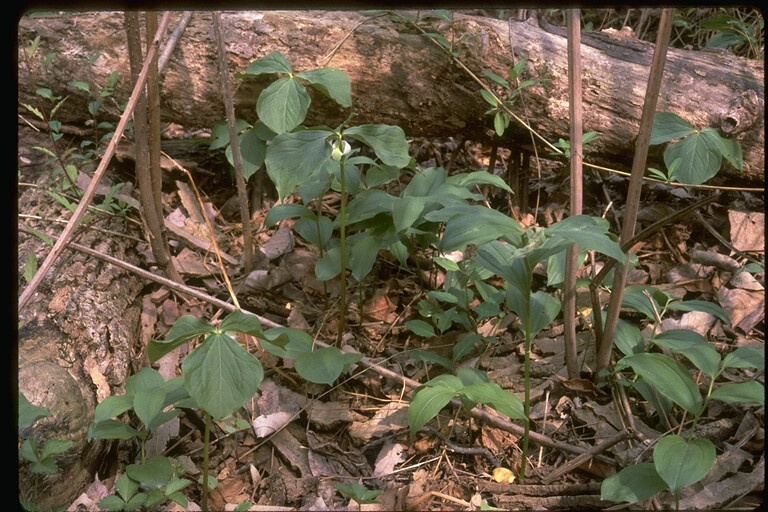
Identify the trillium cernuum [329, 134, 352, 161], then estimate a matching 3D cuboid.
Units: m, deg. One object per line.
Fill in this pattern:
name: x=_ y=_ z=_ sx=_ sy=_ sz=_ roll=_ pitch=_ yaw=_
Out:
trillium cernuum: x=-0.210 y=-0.520 z=3.011 sx=0.093 sy=0.128 sz=0.061 roll=3 pitch=-16 yaw=-14
